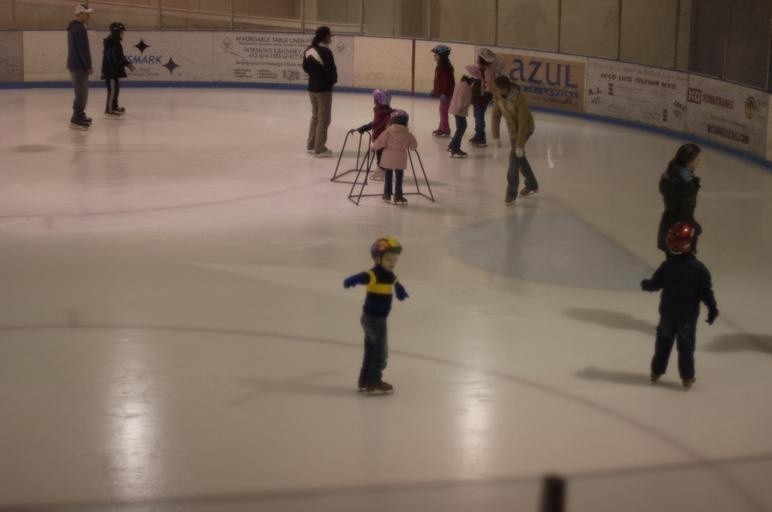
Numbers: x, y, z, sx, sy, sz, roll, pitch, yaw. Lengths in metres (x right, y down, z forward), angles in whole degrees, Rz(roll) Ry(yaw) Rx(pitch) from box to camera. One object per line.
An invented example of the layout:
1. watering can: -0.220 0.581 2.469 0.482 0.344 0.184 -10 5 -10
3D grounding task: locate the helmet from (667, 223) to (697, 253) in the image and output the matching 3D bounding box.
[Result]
1. helmet: 2.755 -0.147 6.739 0.234 0.306 0.293 9 16 24

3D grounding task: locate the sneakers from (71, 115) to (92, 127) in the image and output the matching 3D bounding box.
1. sneakers: -7.205 -3.116 16.734 0.619 0.258 0.198 -5 33 -20

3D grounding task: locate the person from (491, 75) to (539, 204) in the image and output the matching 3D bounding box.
1. person: 2.097 -1.872 11.789 0.795 2.048 1.061 6 15 13

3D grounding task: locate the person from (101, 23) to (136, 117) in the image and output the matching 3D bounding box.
1. person: -6.877 -4.729 18.262 0.658 2.242 1.445 -3 15 -19

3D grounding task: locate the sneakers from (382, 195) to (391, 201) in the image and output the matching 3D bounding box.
1. sneakers: -0.005 -0.962 12.030 0.076 0.116 0.123 2 1 13

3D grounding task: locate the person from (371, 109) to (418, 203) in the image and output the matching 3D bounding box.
1. person: 0.106 -1.648 12.032 0.700 1.532 0.965 2 14 -1

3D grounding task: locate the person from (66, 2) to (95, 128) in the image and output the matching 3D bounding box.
1. person: -7.244 -4.458 17.001 0.602 2.796 1.496 -4 15 -21

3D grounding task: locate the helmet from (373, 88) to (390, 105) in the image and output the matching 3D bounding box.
1. helmet: -0.095 -2.789 12.565 0.232 0.227 0.284 5 31 -9

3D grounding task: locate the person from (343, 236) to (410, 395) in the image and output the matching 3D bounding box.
1. person: -0.155 0.574 6.655 0.614 1.537 0.360 -5 16 -26

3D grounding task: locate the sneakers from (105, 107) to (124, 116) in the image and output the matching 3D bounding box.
1. sneakers: -6.780 -3.582 17.953 0.502 0.210 0.193 -3 30 -8

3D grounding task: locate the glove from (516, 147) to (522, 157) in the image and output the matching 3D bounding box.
1. glove: 2.091 -1.627 11.367 0.115 0.168 0.101 6 41 17

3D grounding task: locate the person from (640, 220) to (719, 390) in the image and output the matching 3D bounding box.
1. person: 2.758 0.494 6.831 0.671 1.593 0.308 9 16 23

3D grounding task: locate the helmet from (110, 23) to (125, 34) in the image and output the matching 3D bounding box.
1. helmet: -6.764 -5.703 18.032 0.276 0.231 0.384 -2 14 -16

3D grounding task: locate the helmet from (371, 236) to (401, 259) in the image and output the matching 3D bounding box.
1. helmet: -0.022 -0.067 6.510 0.246 0.199 0.184 -21 1 26

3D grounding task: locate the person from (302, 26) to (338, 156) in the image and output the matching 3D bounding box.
1. person: -1.400 -3.426 14.931 0.631 2.602 1.358 1 14 -6
